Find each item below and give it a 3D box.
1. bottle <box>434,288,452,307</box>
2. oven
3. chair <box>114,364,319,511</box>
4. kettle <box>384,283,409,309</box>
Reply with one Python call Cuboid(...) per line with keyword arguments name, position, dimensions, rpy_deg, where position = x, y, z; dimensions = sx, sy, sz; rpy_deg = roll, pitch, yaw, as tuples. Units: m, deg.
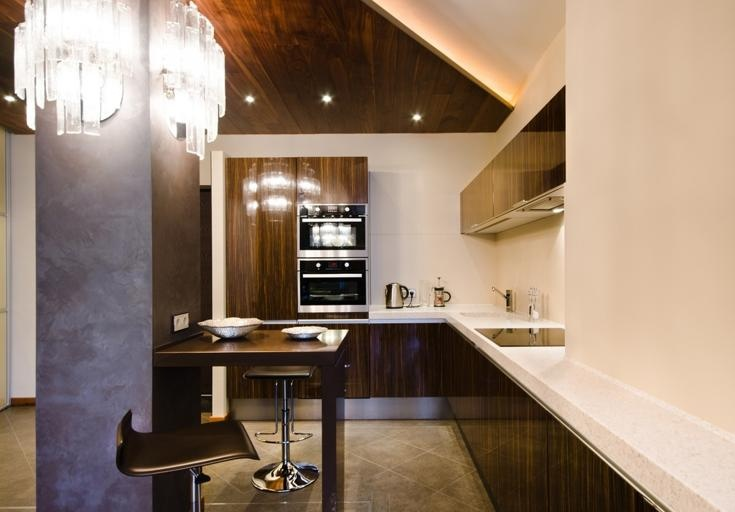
Cuboid(name="bottle", position=(0.695, 0.397, 5.441), dimensions=(0.192, 0.209, 0.129), rpy_deg=(1, -1, 3))
Cuboid(name="oven", position=(-0.316, -0.036, 5.304), dimensions=(0.723, 1.020, 0.746), rpy_deg=(3, 14, 9))
Cuboid(name="chair", position=(-0.732, 1.093, 3.048), dimensions=(1.051, 0.715, 0.634), rpy_deg=(2, -5, -27))
Cuboid(name="kettle", position=(0.274, 0.363, 5.324), dimensions=(0.230, 0.251, 0.168), rpy_deg=(1, -3, 2))
